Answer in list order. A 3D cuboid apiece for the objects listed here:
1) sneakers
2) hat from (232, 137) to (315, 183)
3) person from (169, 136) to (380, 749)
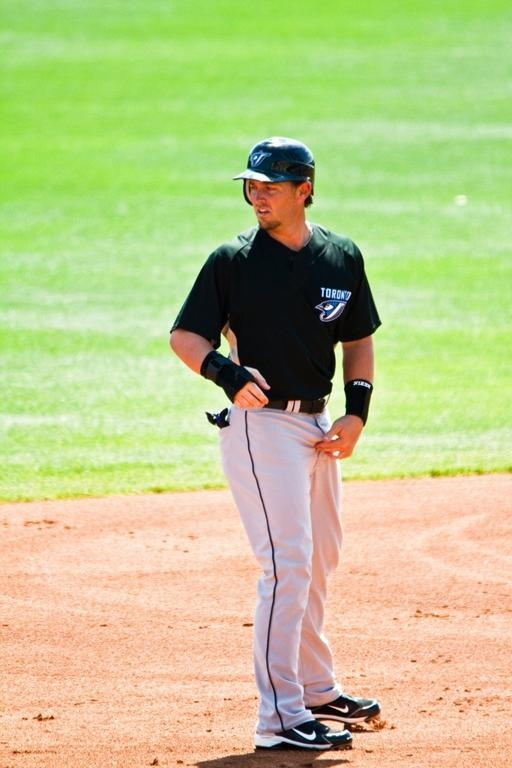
[{"bbox_3d":[0.197,1.260,4.470,0.234,0.073,0.270,-6,4,14],"label":"sneakers"},{"bbox_3d":[0.071,-0.824,4.530,0.202,0.118,0.273,0,0,44],"label":"hat"},{"bbox_3d":[0.198,0.210,4.518,0.816,2.230,0.679,-7,14,-20],"label":"person"}]
